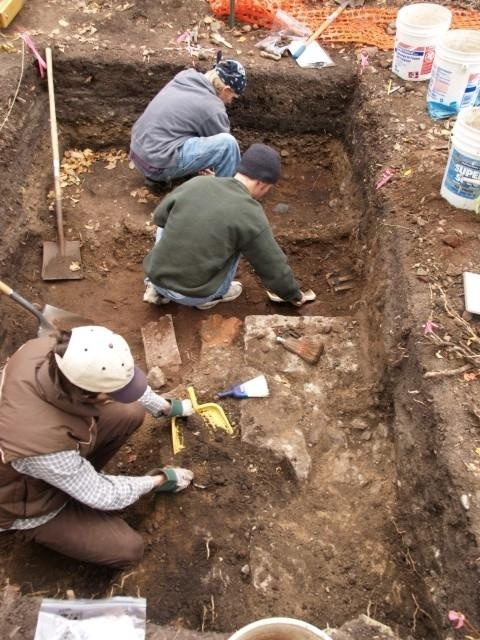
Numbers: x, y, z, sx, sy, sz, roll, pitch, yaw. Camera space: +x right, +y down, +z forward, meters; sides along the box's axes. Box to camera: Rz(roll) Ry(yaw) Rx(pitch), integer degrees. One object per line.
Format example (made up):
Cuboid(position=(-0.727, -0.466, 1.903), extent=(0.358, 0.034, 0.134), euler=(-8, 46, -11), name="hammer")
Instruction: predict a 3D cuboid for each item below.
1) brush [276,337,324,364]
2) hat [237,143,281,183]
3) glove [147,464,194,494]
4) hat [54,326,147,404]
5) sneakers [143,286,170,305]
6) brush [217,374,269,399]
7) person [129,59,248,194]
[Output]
Cuboid(position=(0.329, 0.157, 3.116), extent=(0.226, 0.057, 0.137), euler=(19, 56, 10), name="brush")
Cuboid(position=(0.115, -0.823, 3.034), extent=(0.231, 0.175, 0.169), euler=(15, 37, -29), name="hat")
Cuboid(position=(-0.315, 0.750, 2.646), extent=(0.239, 0.087, 0.090), euler=(1, 68, -64), name="glove")
Cuboid(position=(-0.537, 0.192, 2.215), extent=(0.311, 0.349, 0.213), euler=(-22, 48, -19), name="hat")
Cuboid(position=(-0.546, -0.147, 3.637), extent=(0.100, 0.154, 0.153), euler=(61, 24, 10), name="sneakers")
Cuboid(position=(0.008, 0.353, 2.902), extent=(0.217, 0.048, 0.119), euler=(-16, 51, 4), name="brush")
Cuboid(position=(-0.325, -1.370, 3.981), extent=(0.857, 0.917, 0.816), euler=(8, 45, -9), name="person")
